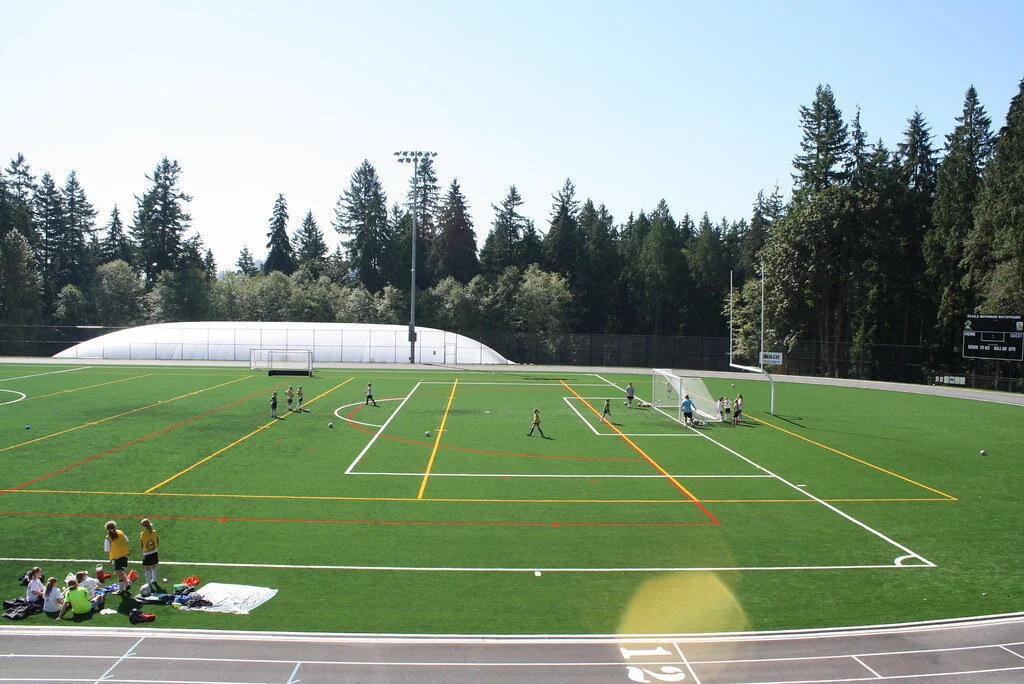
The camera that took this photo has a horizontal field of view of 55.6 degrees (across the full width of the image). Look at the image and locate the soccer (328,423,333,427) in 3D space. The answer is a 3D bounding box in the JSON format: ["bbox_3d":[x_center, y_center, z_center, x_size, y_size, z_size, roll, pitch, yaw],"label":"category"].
[{"bbox_3d":[-11.713,5.407,63.013,0.205,0.223,0.274,1,4,-6],"label":"soccer"}]

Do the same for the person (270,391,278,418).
[{"bbox_3d":[-16.071,4.229,65.872,0.361,1.527,2.170,0,5,-15],"label":"person"}]
